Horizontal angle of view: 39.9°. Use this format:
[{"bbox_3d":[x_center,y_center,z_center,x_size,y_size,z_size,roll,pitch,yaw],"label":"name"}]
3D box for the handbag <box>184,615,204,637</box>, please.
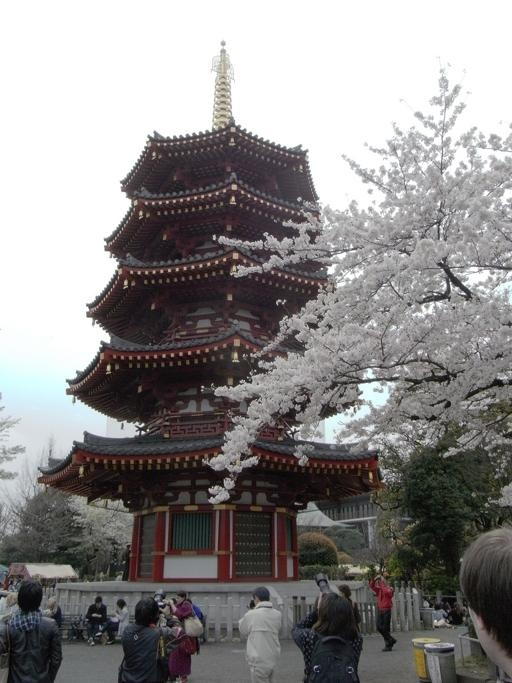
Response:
[{"bbox_3d":[-0.803,3.715,9.167,0.215,0.286,0.429,-2,-17,1],"label":"handbag"}]
